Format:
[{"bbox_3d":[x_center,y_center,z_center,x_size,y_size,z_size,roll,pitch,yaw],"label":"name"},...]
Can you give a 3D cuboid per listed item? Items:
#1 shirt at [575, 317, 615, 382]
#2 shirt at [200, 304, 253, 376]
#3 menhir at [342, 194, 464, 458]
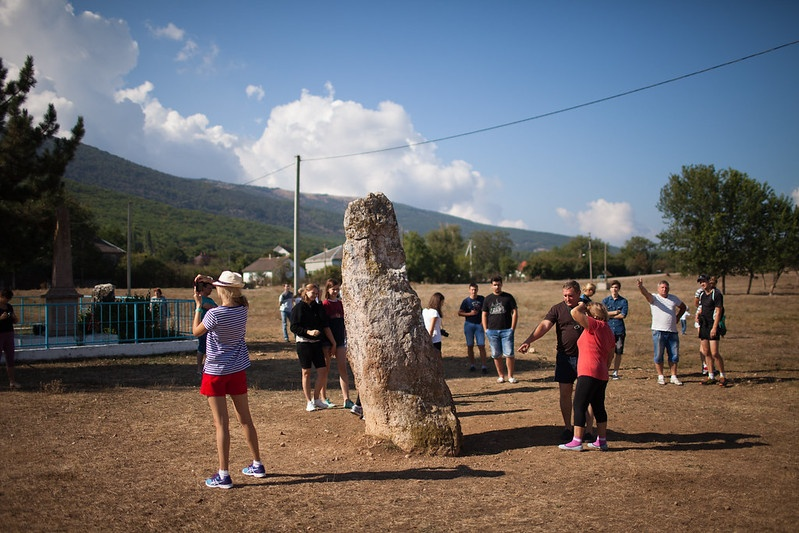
[{"bbox_3d":[4.543,1.917,17.806,0.819,1.460,0.383,0,-2,10],"label":"shirt"},{"bbox_3d":[-3.882,1.638,17.142,0.860,1.648,1.156,1,-1,-8],"label":"shirt"},{"bbox_3d":[-0.234,1.385,19.297,2.847,6.223,2.180,0,0,-4],"label":"menhir"}]
